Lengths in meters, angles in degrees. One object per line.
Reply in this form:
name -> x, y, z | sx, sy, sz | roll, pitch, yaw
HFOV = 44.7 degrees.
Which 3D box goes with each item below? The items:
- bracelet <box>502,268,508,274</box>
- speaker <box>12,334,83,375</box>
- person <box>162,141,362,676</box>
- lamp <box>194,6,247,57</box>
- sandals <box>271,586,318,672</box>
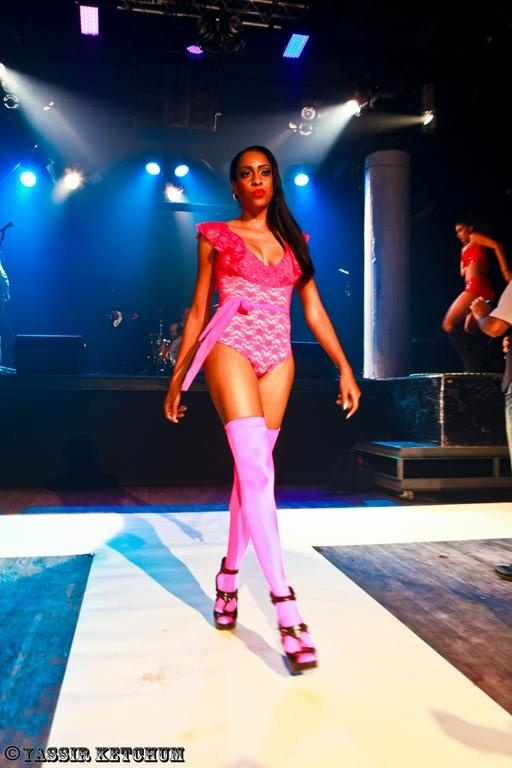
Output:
bracelet -> 1.650, -0.757, 4.099 | 0.030, 0.024, 0.007 | 7, 0, 42
speaker -> -1.479, -0.218, 4.448 | 0.469, 0.268, 0.312 | 1, -5, -16
person -> 0.048, -0.064, 1.785 | 0.611, 1.457, 0.732 | 0, 2, -8
lamp -> -0.300, -3.017, 5.310 | 0.398, 0.246, 0.391 | 0, 2, -2
sandals -> 0.094, 0.592, 1.506 | 0.066, 0.047, 0.201 | -11, 25, -3
